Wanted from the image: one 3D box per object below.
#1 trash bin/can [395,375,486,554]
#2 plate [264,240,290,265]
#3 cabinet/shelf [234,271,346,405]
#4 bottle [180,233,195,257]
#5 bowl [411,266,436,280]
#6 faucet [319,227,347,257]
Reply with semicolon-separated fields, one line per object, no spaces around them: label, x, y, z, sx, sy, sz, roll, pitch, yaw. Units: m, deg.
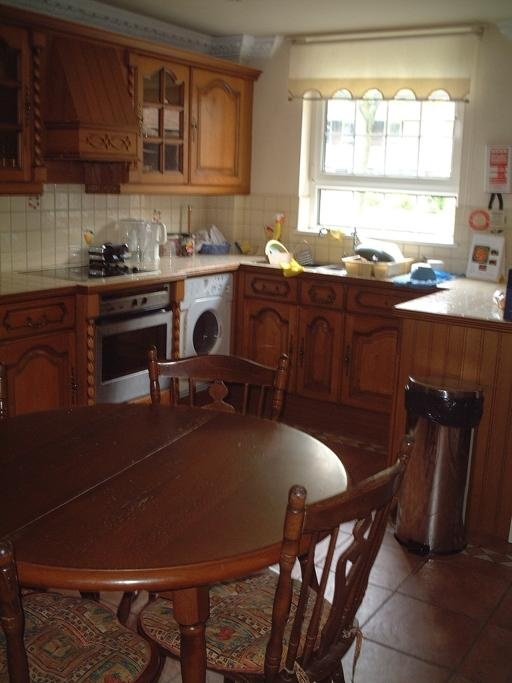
trash bin/can;0.819;0.565;2.450;0.335;0.774;0.240;7;9;24
plate;0.171;-0.697;4.190;0.194;0.222;0.543;3;8;3
cabinet/shelf;0.279;-0.051;3.712;0.853;0.827;0.364;11;13;32
bottle;-0.520;-0.782;4.312;0.159;0.233;0.140;-1;10;-1
bowl;1.082;-0.446;3.472;0.151;0.097;0.080;6;9;17
faucet;0.624;-0.816;4.376;0.119;0.206;0.209;-7;16;-27
